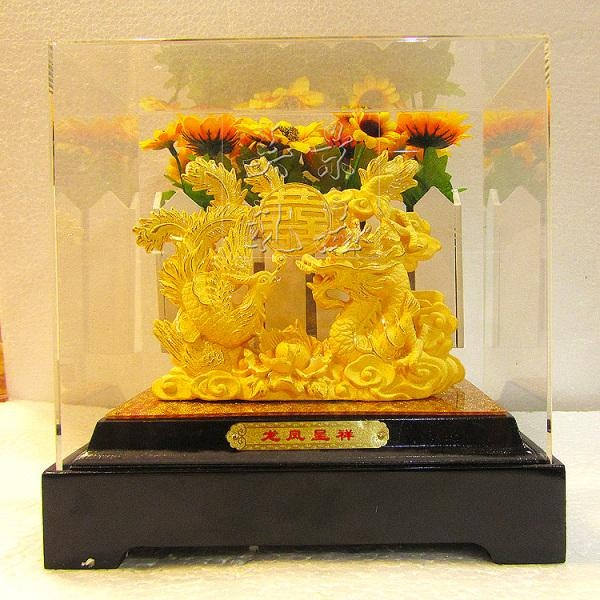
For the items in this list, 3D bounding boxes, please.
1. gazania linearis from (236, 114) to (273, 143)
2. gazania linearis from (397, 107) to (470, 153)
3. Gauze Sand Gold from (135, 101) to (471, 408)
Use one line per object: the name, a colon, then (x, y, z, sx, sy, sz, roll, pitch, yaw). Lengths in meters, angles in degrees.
gazania linearis: (-0.131, -0.494, 2.205, 0.096, 0.070, 0.039, -1, 12, 1)
gazania linearis: (0.391, -0.502, 2.278, 0.192, 0.111, 0.115, 1, 21, 37)
Gauze Sand Gold: (0.019, -0.177, 2.452, 1.077, 0.816, 0.655, -1, 13, 0)
